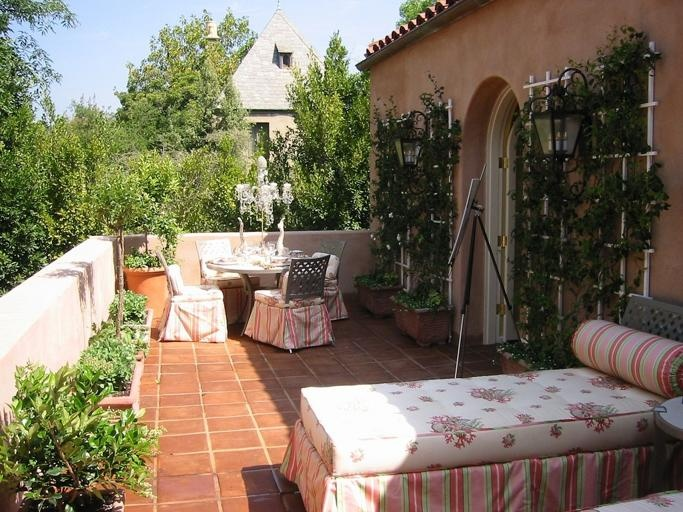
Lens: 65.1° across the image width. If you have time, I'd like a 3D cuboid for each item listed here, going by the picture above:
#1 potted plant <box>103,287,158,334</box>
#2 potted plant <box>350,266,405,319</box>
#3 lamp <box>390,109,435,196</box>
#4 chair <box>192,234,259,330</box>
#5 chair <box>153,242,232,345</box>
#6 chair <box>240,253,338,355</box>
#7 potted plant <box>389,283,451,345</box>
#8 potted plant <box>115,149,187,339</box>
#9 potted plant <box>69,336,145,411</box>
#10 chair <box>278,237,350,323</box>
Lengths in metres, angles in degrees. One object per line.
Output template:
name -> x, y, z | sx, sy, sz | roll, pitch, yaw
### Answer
potted plant -> -2.575, 0.649, 6.580 | 0.425, 0.408, 0.541 | 7, 15, -2
potted plant -> 0.755, 0.647, 9.437 | 0.661, 0.839, 1.692 | 3, 2, -2
lamp -> 1.034, -1.652, 7.641 | 0.517, 0.884, 0.918 | 1, 9, 6
chair -> -1.838, 0.484, 8.477 | 1.096, 1.758, 1.014 | -1, 13, -8
chair -> -2.075, 0.541, 7.699 | 0.991, 1.489, 1.017 | 0, 5, -13
chair -> -0.688, 0.509, 7.328 | 1.000, 1.298, 0.987 | 12, 17, 22
potted plant -> 1.129, 0.862, 7.708 | 0.531, 0.687, 1.467 | -3, 1, -8
potted plant -> -3.122, -0.307, 8.513 | 0.980, 2.649, 1.116 | 8, 10, 30
potted plant -> -1.799, 0.898, 4.091 | 0.237, 0.204, 0.659 | 0, 13, -12
chair -> -0.567, 0.349, 8.247 | 0.873, 1.338, 0.941 | -2, 34, -16
